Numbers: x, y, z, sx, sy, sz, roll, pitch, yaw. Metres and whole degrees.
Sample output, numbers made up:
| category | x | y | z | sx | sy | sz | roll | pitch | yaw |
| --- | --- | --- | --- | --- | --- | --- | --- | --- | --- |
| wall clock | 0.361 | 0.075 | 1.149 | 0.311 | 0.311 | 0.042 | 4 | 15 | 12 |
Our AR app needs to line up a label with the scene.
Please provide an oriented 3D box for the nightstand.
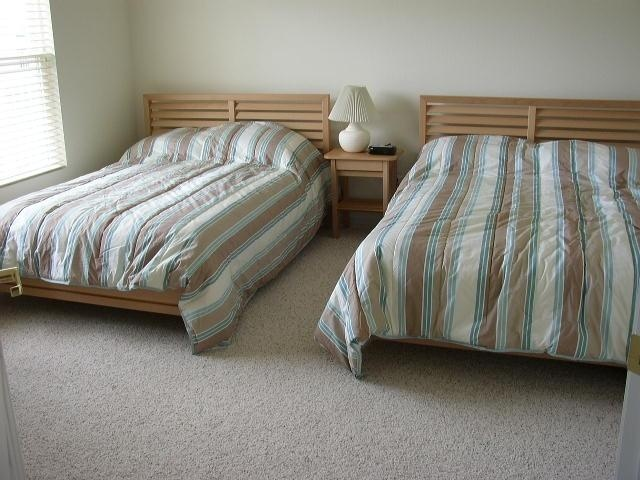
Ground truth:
| category | x | y | z | sx | sy | sz | roll | pitch | yaw |
| --- | --- | --- | --- | --- | --- | --- | --- | --- | --- |
| nightstand | 0.369 | -0.436 | 4.254 | 0.611 | 0.782 | 0.509 | 1 | 23 | 6 |

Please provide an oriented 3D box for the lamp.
| category | x | y | z | sx | sy | sz | roll | pitch | yaw |
| --- | --- | --- | --- | --- | --- | --- | --- | --- | --- |
| lamp | 0.291 | -1.081 | 4.231 | 0.453 | 0.575 | 0.487 | -1 | 19 | 1 |
